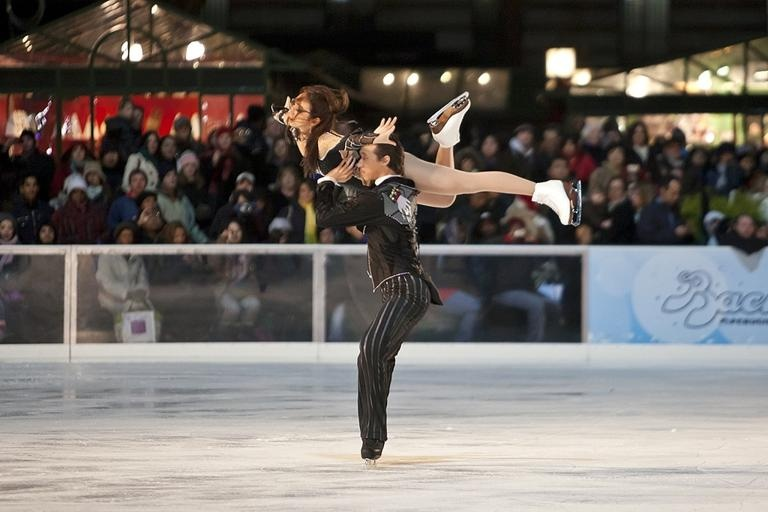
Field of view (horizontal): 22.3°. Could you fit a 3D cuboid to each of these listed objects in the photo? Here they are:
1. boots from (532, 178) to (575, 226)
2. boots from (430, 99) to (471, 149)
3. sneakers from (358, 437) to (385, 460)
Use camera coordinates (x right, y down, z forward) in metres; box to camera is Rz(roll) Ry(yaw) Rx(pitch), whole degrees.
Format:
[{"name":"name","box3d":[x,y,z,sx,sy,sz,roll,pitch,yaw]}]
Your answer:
[{"name":"boots","box3d":[1.963,-0.680,22.402,0.341,0.743,0.267,-24,10,12]},{"name":"boots","box3d":[0.745,-1.516,22.589,0.624,0.244,0.376,-39,-10,-10]},{"name":"sneakers","box3d":[-0.127,2.231,22.415,0.254,0.294,0.262,2,5,0]}]
